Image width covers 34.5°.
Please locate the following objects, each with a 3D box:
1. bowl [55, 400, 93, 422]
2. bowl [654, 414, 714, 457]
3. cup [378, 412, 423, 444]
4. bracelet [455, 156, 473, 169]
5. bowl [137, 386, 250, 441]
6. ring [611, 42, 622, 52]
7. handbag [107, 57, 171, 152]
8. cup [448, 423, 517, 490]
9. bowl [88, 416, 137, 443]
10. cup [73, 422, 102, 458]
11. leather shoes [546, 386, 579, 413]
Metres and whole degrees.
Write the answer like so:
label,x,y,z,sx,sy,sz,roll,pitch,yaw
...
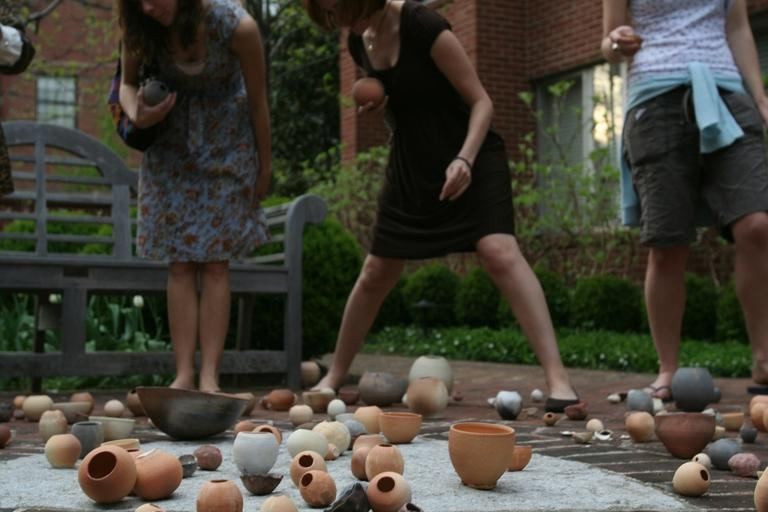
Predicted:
label,x,y,z,sx,sy,sz,roll,pitch,yaw
bowl,-1.885,0.953,7.592,0.258,0.124,0.261,-1,-5,0
bowl,1.713,1.012,7.057,0.333,0.298,0.364,1,-1,0
cup,0.089,0.985,7.127,0.232,0.178,0.175,-1,-5,-2
bracelet,0.514,-0.591,7.797,0.119,0.088,0.069,1,-5,-19
bowl,-1.102,0.887,7.118,0.349,0.201,0.415,-4,-12,13
ring,1.472,-1.335,7.875,0.010,0.052,0.042,2,4,-44
handbag,-1.555,-0.914,7.787,0.365,0.613,0.200,-6,-2,39
cup,0.514,1.048,6.583,0.283,0.299,0.327,3,-7,-3
bowl,-1.544,0.983,7.122,0.163,0.115,0.161,4,-4,0
cup,-1.653,1.002,6.873,0.156,0.190,0.170,2,2,0
leather shoes,1.097,0.883,7.637,0.209,0.165,0.250,-1,-5,7
